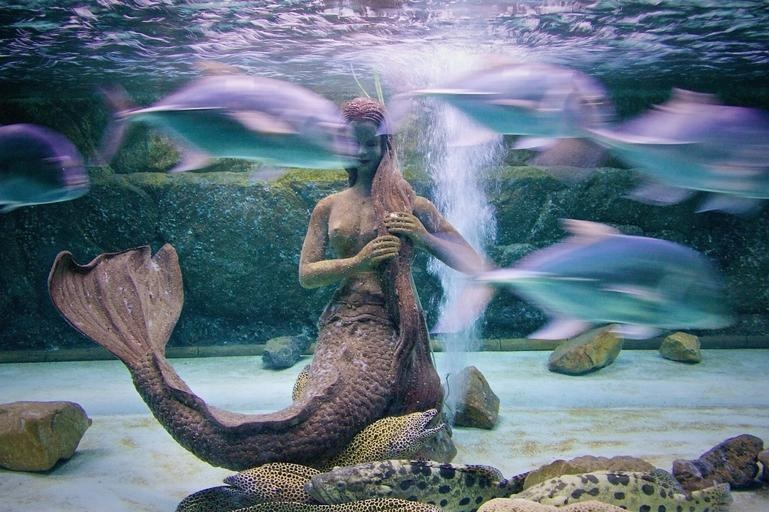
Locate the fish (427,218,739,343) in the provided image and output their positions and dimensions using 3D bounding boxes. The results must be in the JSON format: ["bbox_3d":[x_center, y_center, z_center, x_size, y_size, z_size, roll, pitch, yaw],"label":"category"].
[{"bbox_3d":[1.552,0.185,4.236,1.434,0.832,0.609,2,12,20],"label":"fish"}]
